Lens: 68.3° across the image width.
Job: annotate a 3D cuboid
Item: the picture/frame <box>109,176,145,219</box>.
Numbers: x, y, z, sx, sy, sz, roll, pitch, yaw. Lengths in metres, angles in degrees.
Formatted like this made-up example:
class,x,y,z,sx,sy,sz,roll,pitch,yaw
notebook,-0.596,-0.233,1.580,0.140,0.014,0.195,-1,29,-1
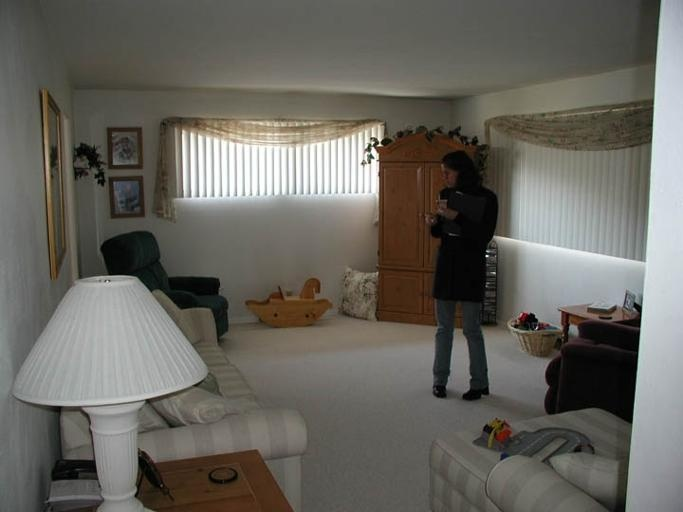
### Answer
class,x,y,z,sx,sy,sz,roll,pitch,yaw
picture/frame,-2.431,-0.658,5.647,0.393,0.595,0.019,-4,7,-18

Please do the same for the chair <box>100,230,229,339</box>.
class,x,y,z,sx,sy,sz,roll,pitch,yaw
chair,-1.674,0.293,5.226,1.131,1.485,1.225,-1,7,-12

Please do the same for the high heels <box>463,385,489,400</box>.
class,x,y,z,sx,sy,sz,roll,pitch,yaw
high heels,1.026,1.045,3.865,0.198,0.098,0.088,-1,1,-16

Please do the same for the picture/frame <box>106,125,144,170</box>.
class,x,y,z,sx,sy,sz,roll,pitch,yaw
picture/frame,-2.433,-1.217,5.609,0.428,0.640,0.019,-1,4,-23

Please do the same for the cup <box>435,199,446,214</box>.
class,x,y,z,sx,sy,sz,roll,pitch,yaw
cup,0.733,-0.359,3.697,0.083,0.079,0.093,0,-4,-1

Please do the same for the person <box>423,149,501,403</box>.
class,x,y,z,sx,sy,sz,roll,pitch,yaw
person,0.874,0.164,3.759,0.504,1.853,0.290,2,9,17

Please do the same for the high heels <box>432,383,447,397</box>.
class,x,y,z,sx,sy,sz,roll,pitch,yaw
high heels,0.756,1.049,3.906,0.067,0.087,0.109,0,-2,-3
